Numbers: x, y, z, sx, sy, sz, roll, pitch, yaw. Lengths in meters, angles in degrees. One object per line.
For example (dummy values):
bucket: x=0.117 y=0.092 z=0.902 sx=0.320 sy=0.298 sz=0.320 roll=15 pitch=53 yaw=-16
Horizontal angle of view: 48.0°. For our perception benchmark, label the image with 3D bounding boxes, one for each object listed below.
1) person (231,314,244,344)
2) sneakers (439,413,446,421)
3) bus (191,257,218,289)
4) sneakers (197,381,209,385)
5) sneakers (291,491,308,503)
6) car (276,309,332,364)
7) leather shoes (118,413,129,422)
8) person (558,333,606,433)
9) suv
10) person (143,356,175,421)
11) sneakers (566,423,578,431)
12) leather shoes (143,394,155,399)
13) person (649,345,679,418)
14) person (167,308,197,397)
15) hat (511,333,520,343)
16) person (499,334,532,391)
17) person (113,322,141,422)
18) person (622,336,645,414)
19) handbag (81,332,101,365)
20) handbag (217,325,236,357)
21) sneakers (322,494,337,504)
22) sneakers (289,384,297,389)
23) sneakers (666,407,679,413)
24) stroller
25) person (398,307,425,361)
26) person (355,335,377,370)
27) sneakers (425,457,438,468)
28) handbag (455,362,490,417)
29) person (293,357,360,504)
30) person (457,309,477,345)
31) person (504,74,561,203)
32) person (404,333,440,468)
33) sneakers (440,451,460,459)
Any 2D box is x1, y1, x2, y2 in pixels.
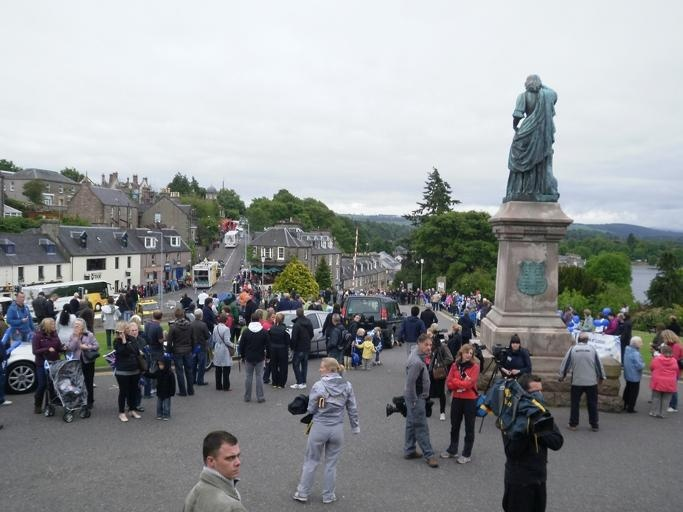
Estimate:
person: x=-3.531 y=2.403 z=25.278 sx=0.320 sy=0.357 sz=1.022 roll=18 pitch=-34 yaw=-12
sneakers: x=2.519 y=4.046 z=19.388 sx=0.117 sy=0.151 sz=0.369 roll=-2 pitch=-9 yaw=9
bus: x=-13.320 y=1.740 z=74.175 sx=1.375 sy=1.515 sz=4.345 roll=0 pitch=4 yaw=2
sneakers: x=-4.057 y=3.689 z=22.185 sx=0.243 sy=0.087 sz=0.101 roll=-1 pitch=-24 yaw=-42
sneakers: x=-0.876 y=4.811 z=15.322 sx=0.318 sy=0.161 sz=0.140 roll=13 pitch=10 yaw=41
car: x=-1.195 y=2.506 z=25.962 sx=1.011 sy=1.091 sz=2.122 roll=-1 pitch=-10 yaw=17
leather shoes: x=-5.425 y=3.955 z=18.826 sx=0.106 sy=0.157 sz=0.344 roll=0 pitch=-4 yaw=-30
person: x=5.901 y=3.055 z=18.821 sx=1.018 sy=2.307 sz=0.631 roll=3 pitch=10 yaw=11
suv: x=1.286 y=2.335 z=29.016 sx=1.431 sy=1.173 sz=2.646 roll=1 pitch=8 yaw=12
person: x=-4.506 y=3.233 z=18.991 sx=0.553 sy=1.538 sz=0.379 roll=1 pitch=9 yaw=2
sneakers: x=5.633 y=4.165 z=18.787 sx=0.151 sy=0.162 sz=0.346 roll=2 pitch=4 yaw=10
leather shoes: x=-5.356 y=3.839 z=21.058 sx=0.286 sy=0.220 sz=0.103 roll=2 pitch=-3 yaw=9
person: x=8.366 y=3.162 z=19.879 sx=0.678 sy=1.957 sz=0.760 roll=7 pitch=11 yaw=33
person: x=-4.429 y=2.582 z=20.817 sx=0.684 sy=2.395 sz=0.742 roll=-1 pitch=10 yaw=-12
hat: x=4.300 y=2.018 z=19.030 sx=0.179 sy=0.283 sz=0.272 roll=0 pitch=-22 yaw=13
person: x=4.289 y=2.576 z=19.078 sx=0.786 sy=1.312 sz=0.738 roll=2 pitch=14 yaw=24
person: x=-5.293 y=2.804 z=18.809 sx=0.637 sy=2.456 sz=0.427 roll=-3 pitch=10 yaw=-19
person: x=7.827 y=3.103 z=20.655 sx=0.480 sy=2.020 sz=1.344 roll=4 pitch=10 yaw=21
handbag: x=-6.445 y=2.304 z=19.225 sx=0.274 sy=0.747 sz=0.535 roll=1 pitch=10 yaw=27
handbag: x=-3.285 y=2.325 z=21.348 sx=0.440 sy=0.872 sz=0.444 roll=-4 pitch=11 yaw=-28
sneakers: x=-0.261 y=4.832 z=15.360 sx=0.333 sy=0.163 sz=0.201 roll=-3 pitch=11 yaw=-20
sneakers: x=-1.420 y=3.715 z=21.988 sx=0.096 sy=0.102 sz=0.219 roll=3 pitch=-1 yaw=-37
sneakers: x=8.777 y=4.052 z=20.361 sx=0.348 sy=0.159 sz=0.126 roll=-2 pitch=2 yaw=-39
stroller: x=-7.069 y=3.239 z=19.185 sx=1.347 sy=2.199 sz=1.216 roll=0 pitch=-1 yaw=32
person: x=2.087 y=2.455 z=23.558 sx=0.792 sy=2.144 sz=0.661 roll=1 pitch=21 yaw=-1
person: x=0.719 y=3.134 z=25.049 sx=0.926 sy=1.386 sz=0.692 roll=-1 pitch=-5 yaw=2
sneakers: x=1.951 y=4.466 z=16.661 sx=0.122 sy=0.146 sz=0.345 roll=-1 pitch=-5 yaw=-15
handbag: x=2.812 y=3.088 z=16.352 sx=0.479 sy=1.234 sz=0.835 roll=-1 pitch=12 yaw=17
person: x=-0.368 y=3.494 z=15.503 sx=1.367 sy=2.740 sz=0.867 roll=-8 pitch=13 yaw=-43
person: x=3.770 y=2.287 z=23.233 sx=0.636 sy=1.455 sz=0.455 roll=7 pitch=16 yaw=26
person: x=5.346 y=-3.274 z=21.393 sx=1.339 sy=3.472 sz=0.959 roll=3 pitch=10 yaw=11
person: x=1.688 y=3.127 z=16.720 sx=0.654 sy=2.766 sz=0.609 roll=2 pitch=9 yaw=6
sneakers: x=2.399 y=4.424 z=17.127 sx=0.397 sy=0.199 sz=0.160 roll=8 pitch=-1 yaw=1
